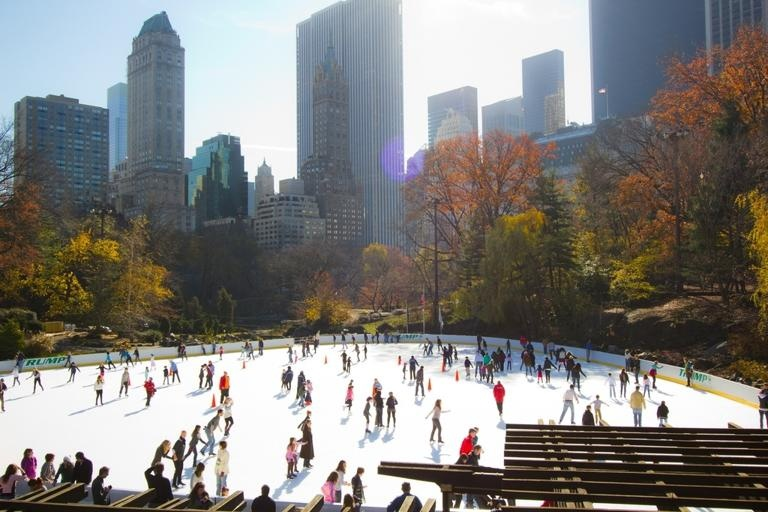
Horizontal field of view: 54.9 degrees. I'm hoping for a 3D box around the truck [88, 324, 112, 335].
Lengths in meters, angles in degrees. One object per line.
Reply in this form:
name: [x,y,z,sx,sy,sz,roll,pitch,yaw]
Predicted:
truck: [-31.950,8.251,82.877,2.108,0.690,1.505,-5,-11,31]
